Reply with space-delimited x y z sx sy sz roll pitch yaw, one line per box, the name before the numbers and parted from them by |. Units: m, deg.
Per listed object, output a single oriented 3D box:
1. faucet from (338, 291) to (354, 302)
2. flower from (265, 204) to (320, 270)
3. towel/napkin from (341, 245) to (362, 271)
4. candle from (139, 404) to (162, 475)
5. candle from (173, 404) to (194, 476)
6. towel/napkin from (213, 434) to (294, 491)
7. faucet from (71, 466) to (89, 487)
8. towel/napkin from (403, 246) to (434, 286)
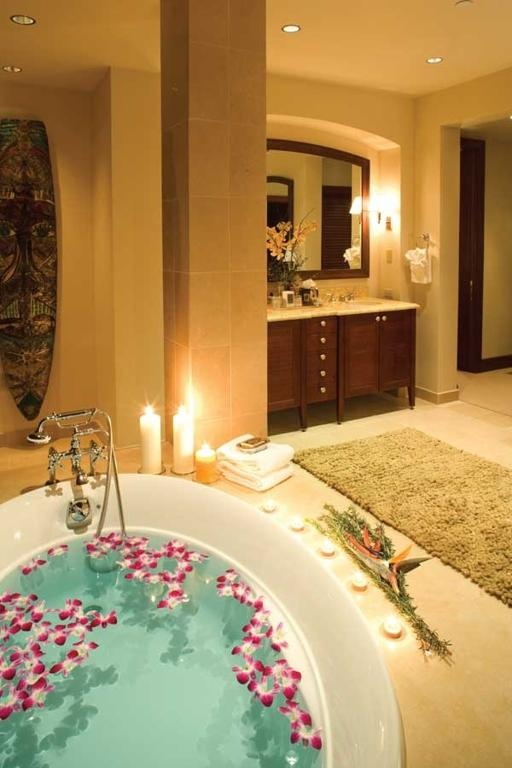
faucet | 0.741 -0.716 4.453 0.141 0.069 0.050 -7 11 -41
flower | 0.281 -1.077 4.101 0.482 0.411 0.099 -6 10 -40
towel/napkin | 0.800 -1.040 4.455 0.145 0.206 0.058 -1 3 -31
candle | -0.458 0.261 2.423 0.100 0.298 0.119 -2 8 -18
candle | -0.329 0.266 2.484 0.100 0.294 0.101 -2 8 -20
towel/napkin | 0.031 0.317 2.482 0.239 0.118 0.249 11 21 35
faucet | -0.614 0.328 1.913 0.050 0.040 0.078 -9 12 -40
towel/napkin | 1.308 -0.957 4.345 0.093 0.297 0.256 -16 21 -30
